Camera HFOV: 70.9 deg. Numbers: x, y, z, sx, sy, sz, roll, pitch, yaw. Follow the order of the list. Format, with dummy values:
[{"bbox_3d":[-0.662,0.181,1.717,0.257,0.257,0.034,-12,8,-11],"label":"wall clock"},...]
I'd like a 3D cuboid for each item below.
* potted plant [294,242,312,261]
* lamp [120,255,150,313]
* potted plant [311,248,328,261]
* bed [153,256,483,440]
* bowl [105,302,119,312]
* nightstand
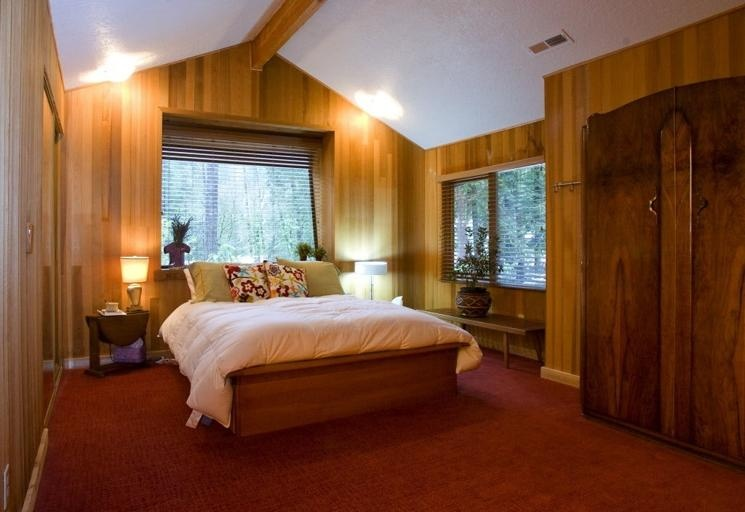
[{"bbox_3d":[-0.924,-0.070,6.944,0.213,0.231,0.222,2,-4,-26],"label":"potted plant"},{"bbox_3d":[-2.633,0.287,5.853,0.301,0.597,0.356,-4,11,-25],"label":"lamp"},{"bbox_3d":[-0.694,-0.023,7.044,0.182,0.219,0.164,1,-2,-33],"label":"potted plant"},{"bbox_3d":[-0.633,0.714,5.316,2.608,0.997,2.297,-4,10,-22],"label":"bed"},{"bbox_3d":[-2.798,0.541,5.638,0.121,0.084,0.124,0,-5,0],"label":"bowl"},{"bbox_3d":[-2.739,0.917,5.688,0.271,0.610,0.639,4,5,29],"label":"nightstand"}]
